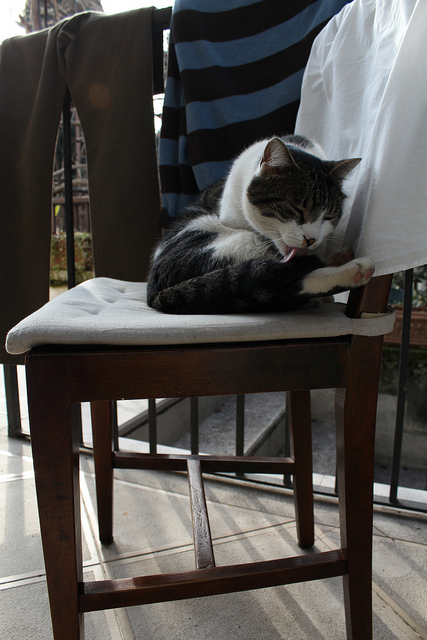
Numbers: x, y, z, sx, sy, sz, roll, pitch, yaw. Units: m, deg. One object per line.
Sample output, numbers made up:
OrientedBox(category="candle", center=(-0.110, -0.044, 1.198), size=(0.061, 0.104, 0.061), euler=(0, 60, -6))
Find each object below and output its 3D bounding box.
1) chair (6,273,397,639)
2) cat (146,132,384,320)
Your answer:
OrientedBox(category="chair", center=(-0.036, 0.236, 0.882), size=(0.509, 0.579, 0.498), euler=(4, 5, 27))
OrientedBox(category="cat", center=(0.080, -0.193, 0.961), size=(0.342, 0.247, 0.442), euler=(-20, 29, -23))
